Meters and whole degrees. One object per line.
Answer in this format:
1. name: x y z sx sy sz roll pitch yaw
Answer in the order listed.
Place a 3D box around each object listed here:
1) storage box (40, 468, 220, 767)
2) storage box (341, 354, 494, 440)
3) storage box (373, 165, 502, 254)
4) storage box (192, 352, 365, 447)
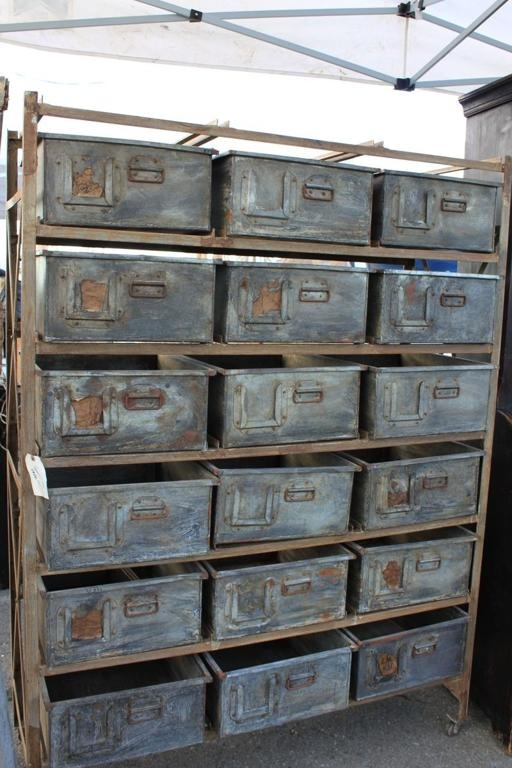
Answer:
1. storage box: -0.570 0.902 2.912 0.738 1.237 0.711 -3 15 -19
2. storage box: 0.771 0.021 3.052 0.433 0.212 0.425 -2 4 -25
3. storage box: 0.799 -0.728 2.973 0.416 0.202 0.411 -6 12 -33
4. storage box: 0.145 0.078 2.874 0.707 0.358 0.202 -4 15 -20
